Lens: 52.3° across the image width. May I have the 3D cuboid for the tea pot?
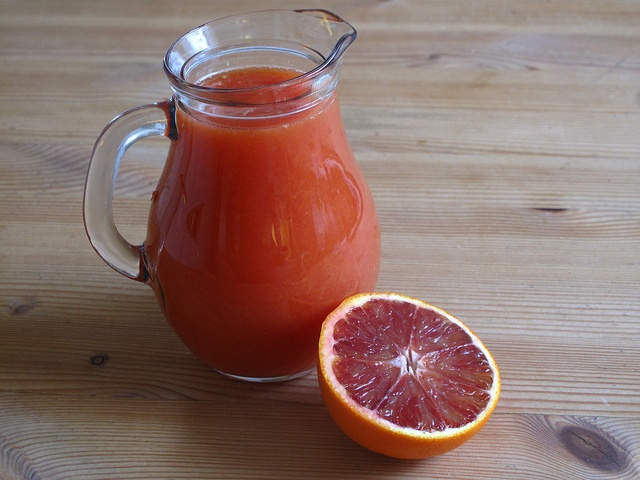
[{"bbox_3d":[-0.089,-0.145,1.142,0.618,0.551,0.440,-11,33,-14],"label":"tea pot"}]

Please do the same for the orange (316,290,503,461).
[{"bbox_3d":[0.121,0.212,1.013,0.286,0.145,0.254,9,34,-9],"label":"orange"}]
